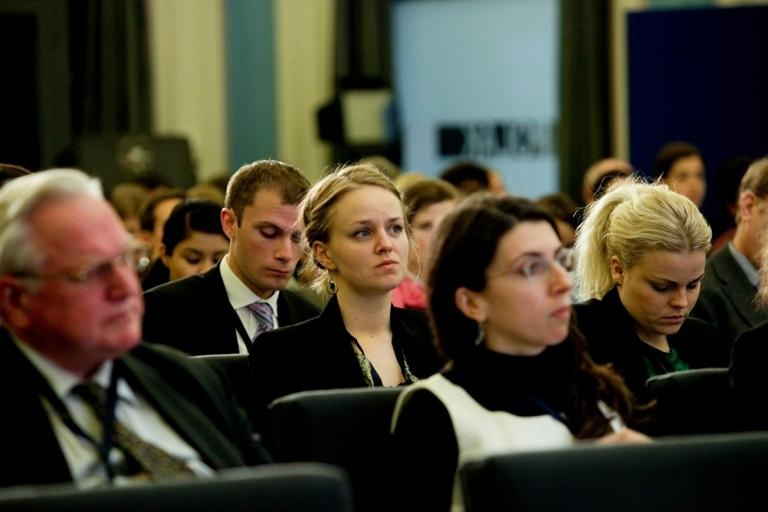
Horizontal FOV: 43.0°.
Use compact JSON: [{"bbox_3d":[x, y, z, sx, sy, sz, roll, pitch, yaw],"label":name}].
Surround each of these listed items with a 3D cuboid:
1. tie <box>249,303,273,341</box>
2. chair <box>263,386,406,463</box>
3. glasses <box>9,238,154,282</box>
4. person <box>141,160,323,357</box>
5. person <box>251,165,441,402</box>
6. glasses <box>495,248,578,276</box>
[{"bbox_3d":[-0.580,0.306,4.637,0.122,0.226,0.059,-1,-3,-1],"label":"tie"},{"bbox_3d":[-0.160,0.527,3.261,0.284,0.355,0.284,-4,-6,41],"label":"chair"},{"bbox_3d":[-0.920,0.032,2.993,0.417,0.101,0.171,-9,10,-23],"label":"glasses"},{"bbox_3d":[-0.634,0.073,4.845,1.165,1.074,0.616,-3,10,-32],"label":"person"},{"bbox_3d":[-0.191,0.134,4.067,0.945,0.939,0.487,1,-15,-37],"label":"person"},{"bbox_3d":[0.519,0.030,3.152,0.144,0.061,0.106,1,-10,-39],"label":"glasses"}]
